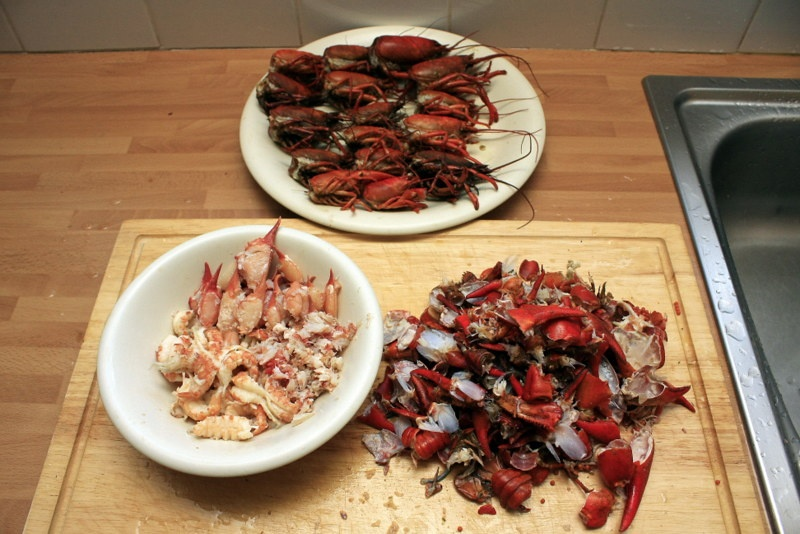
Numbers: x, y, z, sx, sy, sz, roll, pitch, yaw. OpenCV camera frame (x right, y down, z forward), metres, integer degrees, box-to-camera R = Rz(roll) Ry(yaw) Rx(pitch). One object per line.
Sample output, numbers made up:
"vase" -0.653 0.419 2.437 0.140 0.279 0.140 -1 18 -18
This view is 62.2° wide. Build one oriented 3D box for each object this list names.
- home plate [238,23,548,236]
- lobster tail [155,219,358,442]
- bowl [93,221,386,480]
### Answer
"home plate" 0.021 -0.294 1.671 0.772 0.123 0.501 -15 55 -10
"lobster tail" -0.289 0.144 1.354 0.464 0.181 0.371 2 61 -1
"bowl" -0.317 0.154 1.349 0.561 0.149 0.527 0 54 1
